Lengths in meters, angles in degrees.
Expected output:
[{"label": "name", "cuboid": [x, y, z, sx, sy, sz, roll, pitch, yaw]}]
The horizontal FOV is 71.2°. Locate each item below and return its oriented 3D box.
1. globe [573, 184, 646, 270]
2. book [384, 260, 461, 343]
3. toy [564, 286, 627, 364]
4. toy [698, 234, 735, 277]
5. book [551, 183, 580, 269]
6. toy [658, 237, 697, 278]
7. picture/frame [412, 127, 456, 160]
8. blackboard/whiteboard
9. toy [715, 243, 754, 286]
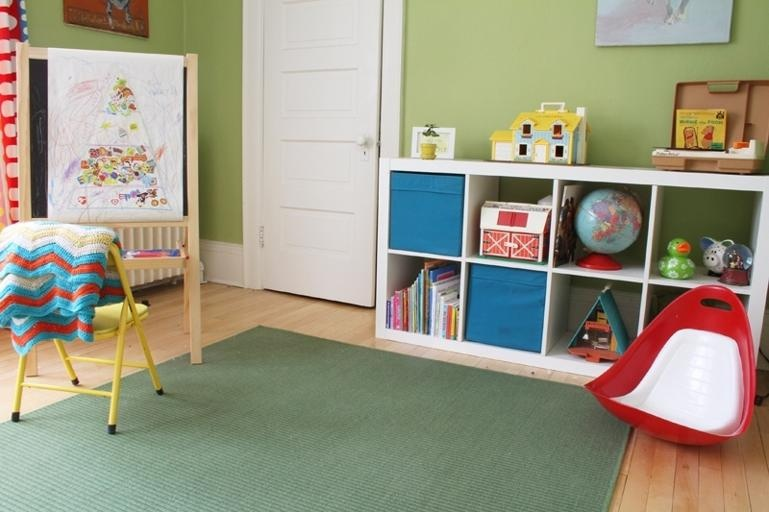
[{"label": "globe", "cuboid": [1.168, -0.188, 2.802, 0.346, 0.434, 0.255, 8, 15, 25]}, {"label": "book", "cuboid": [0.242, 0.287, 3.136, 0.433, 0.425, 0.247, 12, 19, 39]}, {"label": "toy", "cuboid": [1.171, 0.366, 2.941, 0.306, 0.388, 0.419, 3, 6, 29]}, {"label": "toy", "cuboid": [1.643, -0.006, 2.678, 0.205, 0.190, 0.171, -10, 2, -40]}, {"label": "book", "cuboid": [0.981, -0.165, 2.888, 0.097, 0.372, 0.335, 6, 14, 22]}, {"label": "toy", "cuboid": [1.498, 0.008, 2.785, 0.209, 0.208, 0.203, -1, 1, -28]}, {"label": "picture/frame", "cuboid": [0.295, -0.666, 3.183, 0.234, 0.166, 0.017, 5, 9, 26]}, {"label": "blackboard/whiteboard", "cuboid": [-1.364, -0.575, 2.654, 0.900, 0.884, 0.265, -3, 16, -11]}, {"label": "toy", "cuboid": [1.693, 0.028, 2.609, 0.177, 0.207, 0.190, 8, 11, 33]}]
